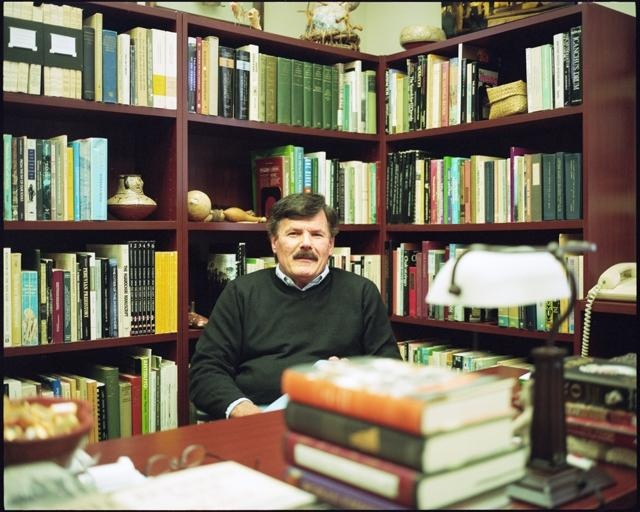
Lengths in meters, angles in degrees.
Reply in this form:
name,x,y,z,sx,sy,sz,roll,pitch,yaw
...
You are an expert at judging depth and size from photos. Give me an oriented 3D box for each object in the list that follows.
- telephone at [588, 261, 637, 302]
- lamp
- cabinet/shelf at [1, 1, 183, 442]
name,x,y,z,sx,sy,sz,roll,pitch,yaw
telephone,0.971,0.092,2.028,0.169,0.062,0.174,-29,15,-38
lamp,0.341,0.194,1.000,0.342,0.427,0.148,-5,5,-35
cabinet/shelf,-0.862,-0.099,2.213,0.633,1.484,0.416,-6,6,-43
